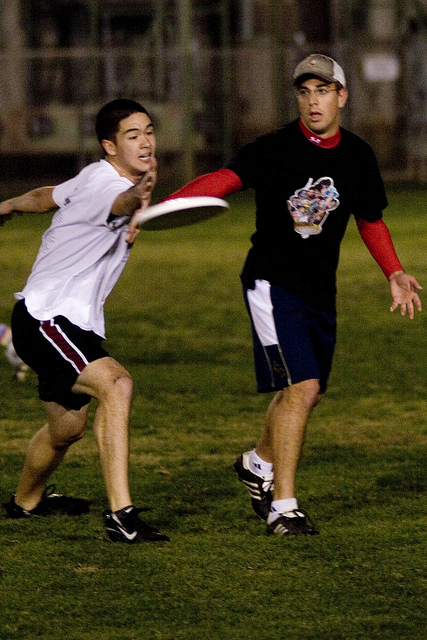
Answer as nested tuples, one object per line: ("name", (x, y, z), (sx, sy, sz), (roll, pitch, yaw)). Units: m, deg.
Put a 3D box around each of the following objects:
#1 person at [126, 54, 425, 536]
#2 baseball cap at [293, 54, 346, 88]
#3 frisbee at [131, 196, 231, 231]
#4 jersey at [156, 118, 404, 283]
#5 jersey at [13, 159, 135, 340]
("person", (0.320, -0.107, 3.386), (0.498, 1.563, 0.799), (5, 12, 35))
("baseball cap", (0.361, -0.852, 3.401), (0.162, 0.124, 0.222), (3, 9, 25))
("frisbee", (-0.098, -0.316, 2.972), (0.279, 0.103, 0.469), (-1, 8, 1))
("jersey", (0.214, -0.485, 3.405), (0.715, 0.599, 0.196), (2, -15, 3))
("jersey", (-0.423, -0.219, 3.173), (0.435, 0.560, 0.269), (2, 10, 19))
